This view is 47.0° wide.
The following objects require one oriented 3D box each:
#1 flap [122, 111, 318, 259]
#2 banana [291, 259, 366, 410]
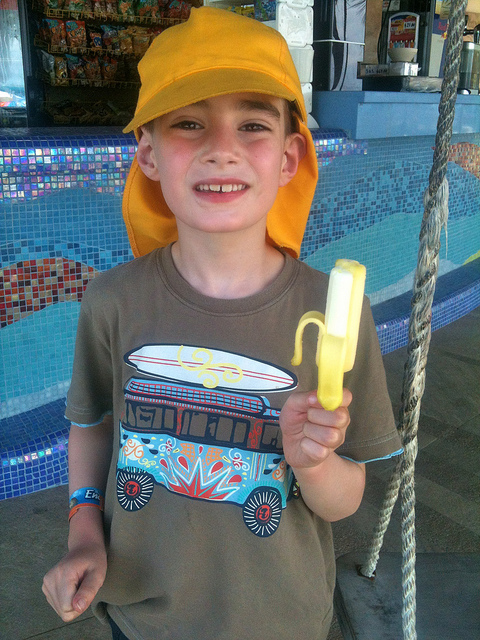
[{"bbox_3d":[-0.047,-0.269,1.005,0.297,0.270,0.251,-7,24,-16],"label":"flap"},{"bbox_3d":[0.093,0.016,0.585,0.063,0.156,0.086,12,28,18],"label":"banana"}]
